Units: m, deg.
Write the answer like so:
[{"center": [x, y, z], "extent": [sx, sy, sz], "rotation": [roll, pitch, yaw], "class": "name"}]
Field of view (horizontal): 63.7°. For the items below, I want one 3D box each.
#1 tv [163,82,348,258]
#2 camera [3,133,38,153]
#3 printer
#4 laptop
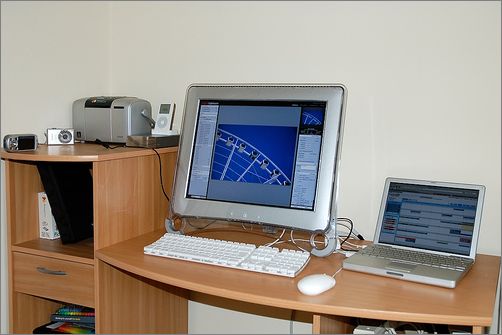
[{"center": [0.026, 0.018, 1.820], "extent": [0.795, 0.675, 0.288], "rotation": [4, 7, 20], "class": "tv"}, {"center": [-1.074, -0.118, 1.885], "extent": [0.091, 0.083, 0.138], "rotation": [3, 3, 39], "class": "camera"}, {"center": [-0.775, -0.269, 2.227], "extent": [0.413, 0.256, 0.285], "rotation": [4, 6, 25], "class": "printer"}, {"center": [0.671, 0.156, 1.615], "extent": [0.465, 0.326, 0.488], "rotation": [6, 7, 35], "class": "laptop"}]
